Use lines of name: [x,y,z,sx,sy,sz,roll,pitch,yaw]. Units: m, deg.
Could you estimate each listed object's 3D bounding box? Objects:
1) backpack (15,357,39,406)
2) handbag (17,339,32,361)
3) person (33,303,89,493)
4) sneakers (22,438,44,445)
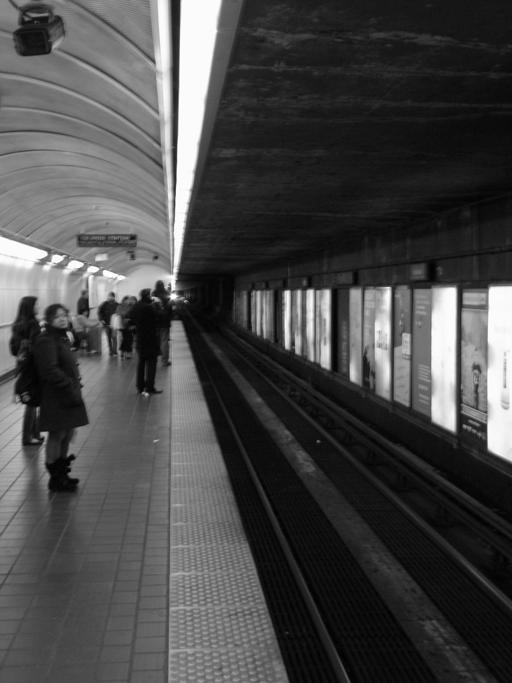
backpack: [-2.461,0.447,5.366,0.308,0.581,0.171,8,15,29]
handbag: [-2.809,0.095,6.103,0.052,0.245,0.156,14,-12,-34]
person: [-2.131,0.655,5.509,0.482,2.090,0.636,-6,15,-24]
sneakers: [-3.305,1.456,7.429,0.272,0.092,0.107,-1,6,-31]
